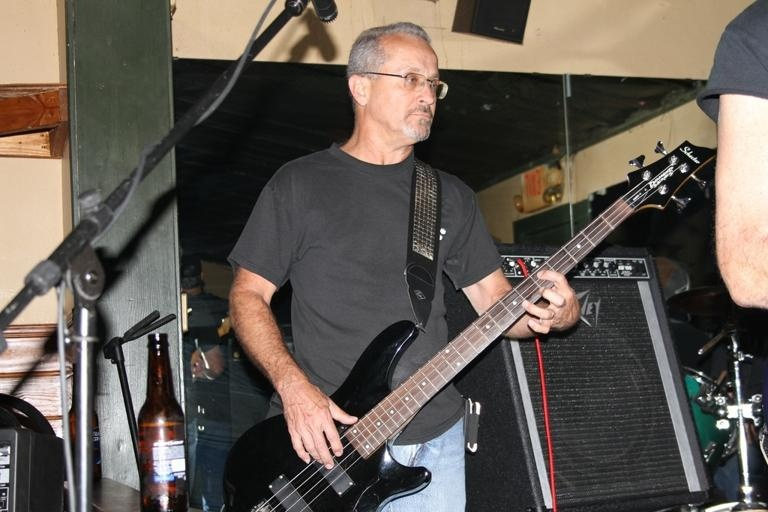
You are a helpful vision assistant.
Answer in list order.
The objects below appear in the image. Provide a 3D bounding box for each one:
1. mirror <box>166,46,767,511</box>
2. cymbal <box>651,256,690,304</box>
[{"bbox_3d":[0.367,0.097,3.493,2.682,2.525,1.038,5,-24,-25],"label":"mirror"},{"bbox_3d":[1.787,0.161,4.699,0.279,0.276,0.064,3,-5,-2],"label":"cymbal"}]
